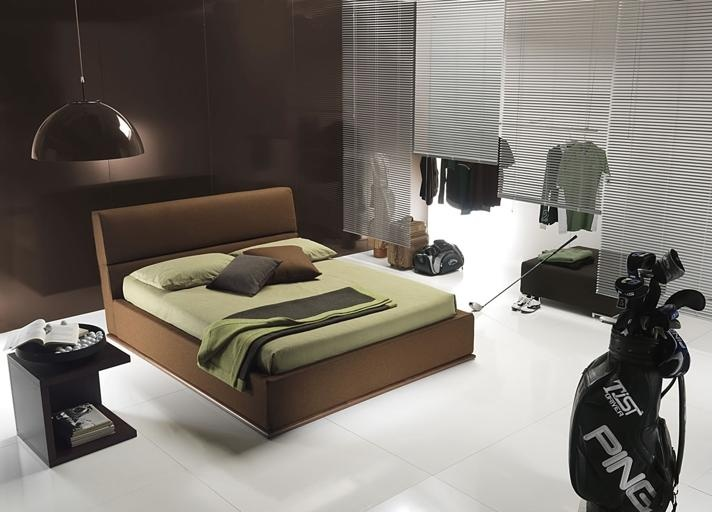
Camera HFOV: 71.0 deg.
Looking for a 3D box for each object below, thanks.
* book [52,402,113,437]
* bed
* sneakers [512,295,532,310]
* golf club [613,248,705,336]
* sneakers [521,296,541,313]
[{"bbox_3d":[-1.839,1.069,3.346,0.208,0.049,0.206,10,14,39],"label":"book"},{"bbox_3d":[-1.035,0.433,4.458,2.201,1.178,2.722,-14,21,-38],"label":"bed"},{"bbox_3d":[1.820,0.505,5.426,0.105,0.114,0.290,9,12,38],"label":"sneakers"},{"bbox_3d":[1.073,0.125,1.779,0.290,0.301,0.206,-8,19,-22],"label":"golf club"},{"bbox_3d":[1.883,0.513,5.336,0.111,0.120,0.310,5,11,38],"label":"sneakers"}]
